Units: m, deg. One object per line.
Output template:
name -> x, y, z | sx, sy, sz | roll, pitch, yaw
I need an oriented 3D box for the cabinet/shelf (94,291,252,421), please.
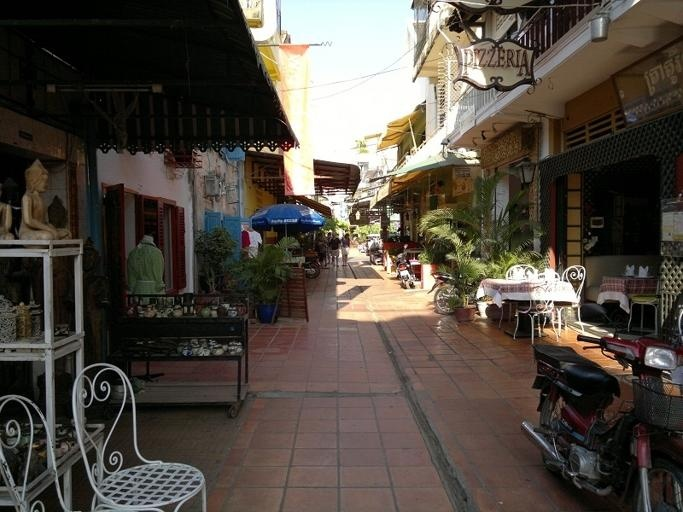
cabinet/shelf -> -1.832, 1.007, 7.157 | 1.989, 1.902, 1.162 | 0, -5, -1

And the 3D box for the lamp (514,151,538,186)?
lamp -> 4.000, -1.852, 12.657 | 0.582, 0.825, 0.673 | -1, 4, -5

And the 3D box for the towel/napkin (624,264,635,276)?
towel/napkin -> 5.229, 0.248, 10.788 | 0.142, 0.195, 0.187 | 0, -20, 9

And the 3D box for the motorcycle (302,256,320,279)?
motorcycle -> -1.168, 0.407, 22.907 | 0.596, 0.688, 2.463 | 0, 7, -4

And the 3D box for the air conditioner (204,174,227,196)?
air conditioner -> -3.048, -1.788, 14.656 | 0.543, 0.773, 0.598 | -2, 3, -6

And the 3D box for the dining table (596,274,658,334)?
dining table -> 4.996, 0.649, 10.263 | 0.972, 0.559, 0.932 | 3, -1, -39

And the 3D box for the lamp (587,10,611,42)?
lamp -> 3.355, -2.995, 7.840 | 0.307, 0.332, 0.340 | 2, -7, 3

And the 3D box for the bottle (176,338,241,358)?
bottle -> -1.497, 1.023, 6.833 | 0.778, 0.143, 0.445 | 1, 7, 4

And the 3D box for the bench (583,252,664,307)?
bench -> 5.422, 0.662, 11.694 | 1.530, 1.099, 0.859 | 0, -6, 1

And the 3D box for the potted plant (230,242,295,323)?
potted plant -> -1.608, 0.481, 12.103 | 1.122, 1.488, 1.249 | -1, 7, -10

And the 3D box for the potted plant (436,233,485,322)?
potted plant -> 2.623, 0.415, 12.354 | 1.213, 1.839, 1.052 | -1, 3, 25

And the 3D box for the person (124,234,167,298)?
person -> -2.852, 0.112, 8.572 | 0.529, 0.828, 0.338 | 0, 7, -8

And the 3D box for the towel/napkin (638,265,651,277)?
towel/napkin -> 5.459, 0.259, 10.738 | 0.132, 0.164, 0.168 | -1, -19, 22

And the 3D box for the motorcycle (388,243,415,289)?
motorcycle -> 1.880, 0.306, 18.308 | 0.530, 0.732, 1.297 | -9, 18, 0

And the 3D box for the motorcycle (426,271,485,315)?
motorcycle -> 2.366, 0.765, 12.407 | 1.102, 0.749, 0.590 | 0, -2, 2
